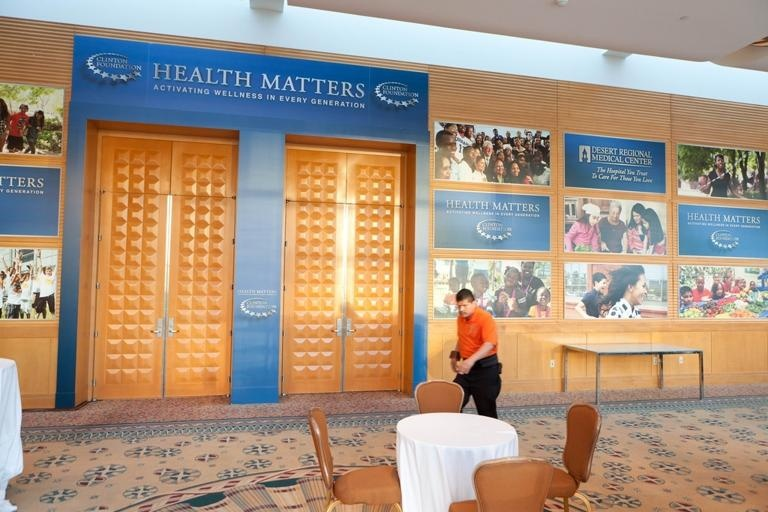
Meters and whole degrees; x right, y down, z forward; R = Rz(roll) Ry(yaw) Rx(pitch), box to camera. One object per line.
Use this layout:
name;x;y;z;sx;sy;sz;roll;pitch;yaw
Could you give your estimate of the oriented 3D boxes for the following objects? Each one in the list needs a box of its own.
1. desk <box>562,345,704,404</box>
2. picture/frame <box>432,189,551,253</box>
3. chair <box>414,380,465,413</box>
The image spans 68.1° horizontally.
desk;4.658;2.014;9.881;1.675;0.669;1.067;-5;-9;23
picture/frame;1.980;-0.597;10.099;2.563;1.076;0.047;-1;0;-25
chair;0.675;1.715;7.162;0.466;0.585;0.465;1;-7;-6
